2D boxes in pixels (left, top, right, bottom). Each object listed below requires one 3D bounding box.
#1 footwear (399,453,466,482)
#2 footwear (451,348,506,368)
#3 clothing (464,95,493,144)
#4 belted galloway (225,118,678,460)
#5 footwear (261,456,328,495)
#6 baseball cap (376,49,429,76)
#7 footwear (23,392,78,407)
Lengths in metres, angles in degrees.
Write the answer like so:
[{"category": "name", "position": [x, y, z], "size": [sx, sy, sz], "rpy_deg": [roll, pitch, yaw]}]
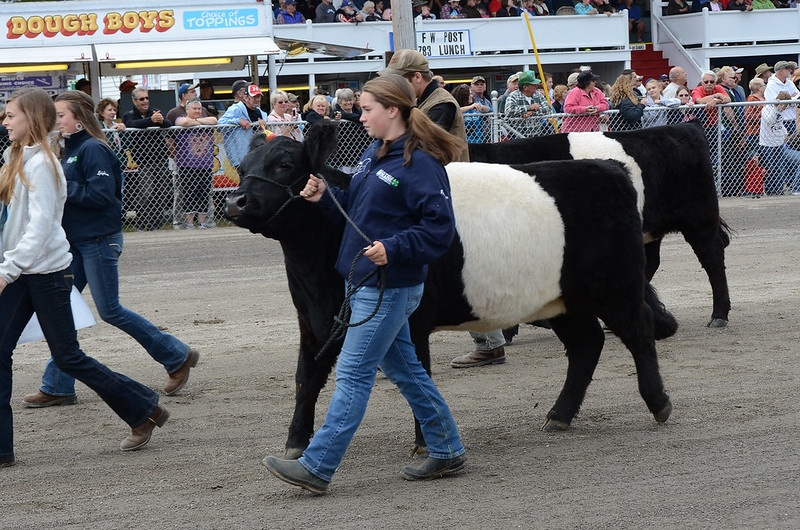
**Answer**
[{"category": "footwear", "position": [0.238, 1.506, 7.954], "size": [0.513, 0.190, 0.168], "rpy_deg": [-4, 0, -9]}, {"category": "footwear", "position": [0.751, 0.873, 10.069], "size": [0.555, 0.206, 0.183], "rpy_deg": [1, -2, -9]}, {"category": "clothing", "position": [1.305, -2.316, 16.798], "size": [0.527, 0.673, 0.820], "rpy_deg": [1, 12, 23]}, {"category": "belted galloway", "position": [0.408, 0.187, 8.486], "size": [4.234, 2.234, 1.021], "rpy_deg": [0, -6, -33]}, {"category": "footwear", "position": [-0.747, 1.489, 7.638], "size": [0.524, 0.215, 0.181], "rpy_deg": [27, -26, -18]}, {"category": "baseball cap", "position": [0.028, -1.800, 9.339], "size": [0.392, 0.165, 0.229], "rpy_deg": [1, 11, -7]}, {"category": "footwear", "position": [-3.075, 1.184, 9.381], "size": [0.441, 0.175, 0.158], "rpy_deg": [5, -1, -15]}]
